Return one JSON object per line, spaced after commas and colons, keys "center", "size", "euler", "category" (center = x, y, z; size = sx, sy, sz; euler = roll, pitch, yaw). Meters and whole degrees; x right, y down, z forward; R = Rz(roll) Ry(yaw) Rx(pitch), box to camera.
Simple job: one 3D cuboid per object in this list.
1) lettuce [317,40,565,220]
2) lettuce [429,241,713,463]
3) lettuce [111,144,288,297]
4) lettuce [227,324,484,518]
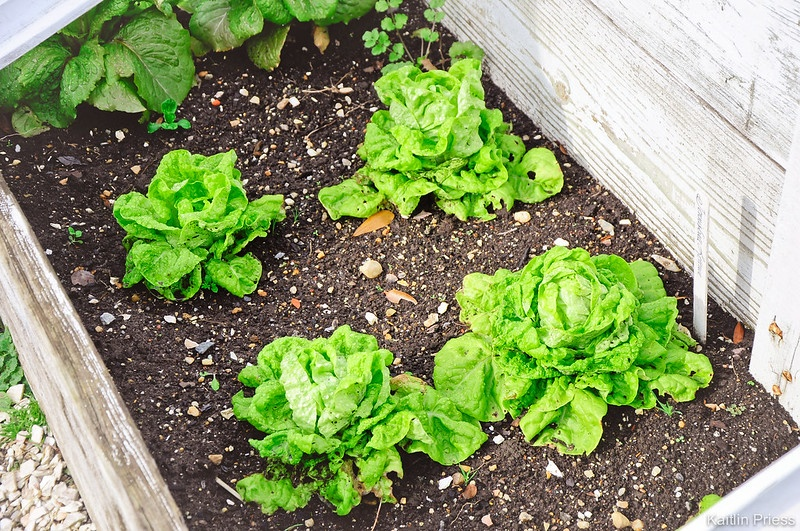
{"center": [0.216, -0.584, 3.636], "size": [1.084, 0.475, 0.944], "euler": [-22, 71, -1], "category": "lettuce"}
{"center": [0.725, 0.251, 3.173], "size": [1.081, 0.476, 1.140], "euler": [-12, 36, -14], "category": "lettuce"}
{"center": [-1.150, -0.217, 3.726], "size": [1.057, 0.925, 0.534], "euler": [-13, 90, -44], "category": "lettuce"}
{"center": [-0.148, 0.599, 3.182], "size": [0.647, 0.337, 1.023], "euler": [-21, 13, 32], "category": "lettuce"}
